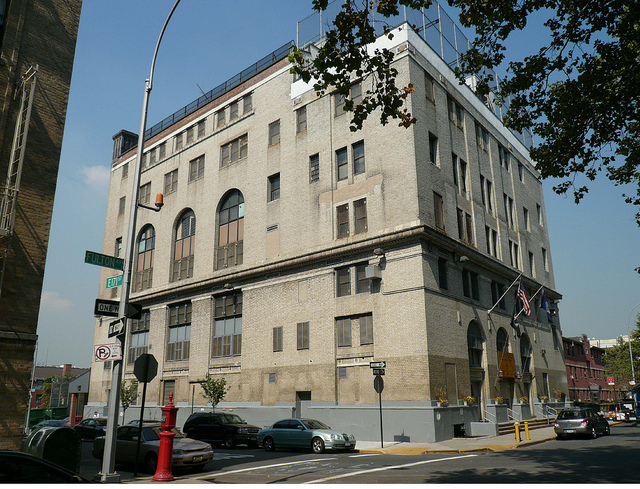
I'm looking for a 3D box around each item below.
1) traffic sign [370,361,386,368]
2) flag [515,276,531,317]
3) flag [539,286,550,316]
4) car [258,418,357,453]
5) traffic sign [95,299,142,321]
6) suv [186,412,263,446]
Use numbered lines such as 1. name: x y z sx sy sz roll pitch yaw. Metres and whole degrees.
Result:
1. traffic sign: 3.105 6.534 30.687 0.826 0.194 0.858 -3 -7 17
2. flag: 16.295 4.231 45.800 0.509 1.748 4.913 -42 -41 0
3. flag: 20.155 5.129 51.126 0.254 2.428 3.047 -6 -12 36
4. car: -0.801 9.886 29.322 4.766 1.659 1.236 -13 -24 30
5. traffic sign: -7.318 2.350 20.800 1.452 0.898 1.529 3 -20 -12
6. suv: -5.516 10.702 32.793 4.137 1.652 2.126 -14 -25 30
